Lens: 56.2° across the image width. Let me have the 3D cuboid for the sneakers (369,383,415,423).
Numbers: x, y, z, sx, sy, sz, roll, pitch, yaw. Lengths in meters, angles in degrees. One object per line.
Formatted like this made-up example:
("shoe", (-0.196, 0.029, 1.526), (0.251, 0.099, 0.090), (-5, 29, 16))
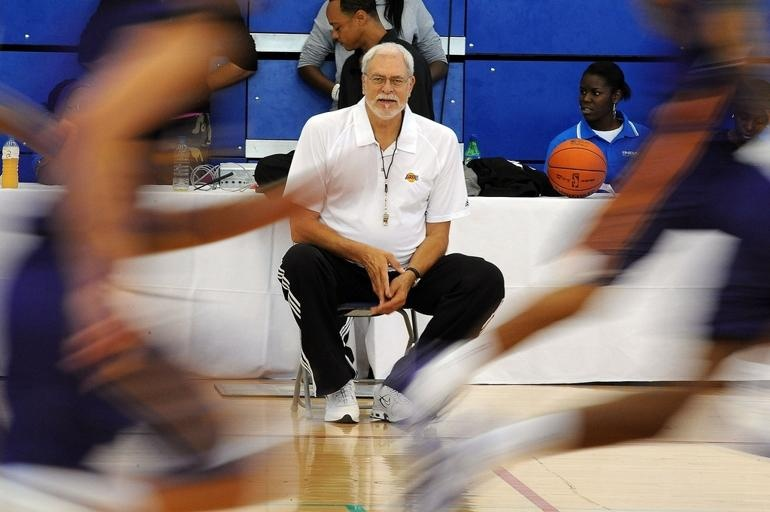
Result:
("sneakers", (0.030, 0.411, 2.015), (0.079, 0.099, 0.192), (0, -1, -34))

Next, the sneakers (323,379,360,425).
("sneakers", (-0.117, 0.425, 2.052), (0.068, 0.063, 0.162), (0, -2, -8))

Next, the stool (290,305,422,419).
("stool", (-0.094, 0.313, 2.143), (0.388, 0.306, 0.159), (1, -6, -10))

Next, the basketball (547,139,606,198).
("basketball", (0.609, -0.277, 2.220), (0.188, 0.176, 0.170), (-6, 46, 16))
